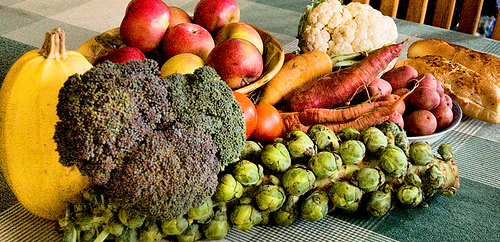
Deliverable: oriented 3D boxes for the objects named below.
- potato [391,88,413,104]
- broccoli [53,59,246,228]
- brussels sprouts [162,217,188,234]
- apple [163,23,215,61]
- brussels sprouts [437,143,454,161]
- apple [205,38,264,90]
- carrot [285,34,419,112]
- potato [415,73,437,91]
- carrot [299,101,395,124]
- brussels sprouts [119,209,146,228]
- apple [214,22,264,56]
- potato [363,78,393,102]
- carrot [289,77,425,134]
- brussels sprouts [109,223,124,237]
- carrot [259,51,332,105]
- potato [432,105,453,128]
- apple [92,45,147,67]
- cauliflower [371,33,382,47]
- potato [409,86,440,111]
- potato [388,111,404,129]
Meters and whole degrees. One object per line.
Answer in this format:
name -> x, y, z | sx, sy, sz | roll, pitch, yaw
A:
potato -> 0.833, -0.148, 2.180 | 0.101, 0.050, 0.071 | 18, 28, 2
broccoli -> -0.421, 0.067, 1.727 | 0.784, 0.605, 0.453 | 1, 32, 0
brussels sprouts -> -0.335, 0.469, 1.735 | 0.104, 0.064, 0.048 | 2, -1, -7
apple -> -0.367, -0.425, 2.257 | 0.248, 0.205, 0.216 | 0, 42, -19
brussels sprouts -> 0.957, 0.147, 1.916 | 0.069, 0.073, 0.031 | -9, -11, -12
apple -> -0.090, -0.304, 2.208 | 0.330, 0.219, 0.282 | -12, 5, -12
carrot -> 0.607, -0.231, 2.269 | 0.797, 0.164, 0.173 | -18, 22, -7
potato -> 0.984, -0.223, 2.172 | 0.114, 0.080, 0.077 | 20, 25, -25
carrot -> 0.493, -0.045, 2.131 | 0.593, 0.120, 0.118 | -2, -12, -20
brussels sprouts -> -0.514, 0.416, 1.706 | 0.100, 0.089, 0.049 | -6, 40, 17
apple -> -0.067, -0.501, 2.278 | 0.165, 0.149, 0.140 | -18, 60, -30
potato -> 0.710, -0.177, 2.226 | 0.157, 0.104, 0.108 | 2, -14, 2
carrot -> 0.587, -0.079, 2.110 | 0.666, 0.088, 0.110 | -20, -5, 4
brussels sprouts -> -0.586, 0.474, 1.714 | 0.056, 0.042, 0.059 | 0, -2, -39
carrot -> 0.254, -0.274, 2.352 | 0.576, 0.174, 0.186 | -29, 20, -6
potato -> 1.029, -0.028, 2.152 | 0.117, 0.108, 0.120 | 10, 69, 14
apple -> -0.688, -0.346, 2.069 | 0.199, 0.097, 0.188 | -24, 7, -17
cauliflower -> 0.791, -0.514, 2.453 | 0.073, 0.073, 0.028 | -5, 8, -12
potato -> 0.927, -0.123, 2.141 | 0.158, 0.110, 0.104 | 15, 40, -22
potato -> 0.768, -0.011, 2.105 | 0.079, 0.079, 0.074 | 4, -18, -6
